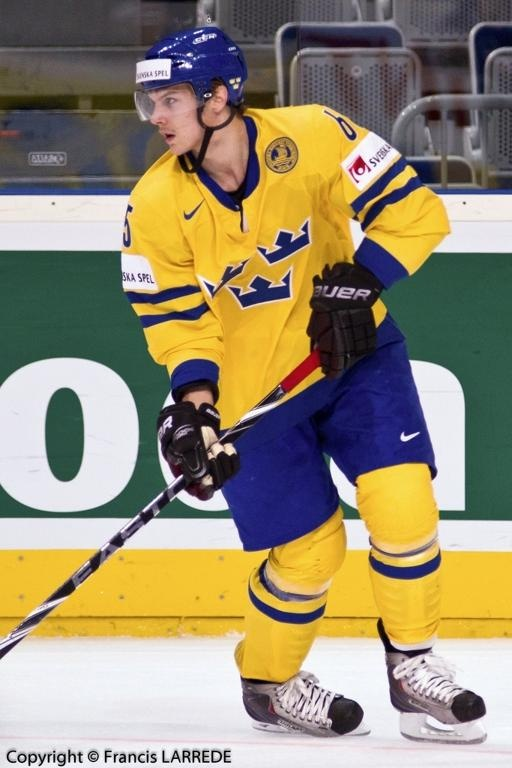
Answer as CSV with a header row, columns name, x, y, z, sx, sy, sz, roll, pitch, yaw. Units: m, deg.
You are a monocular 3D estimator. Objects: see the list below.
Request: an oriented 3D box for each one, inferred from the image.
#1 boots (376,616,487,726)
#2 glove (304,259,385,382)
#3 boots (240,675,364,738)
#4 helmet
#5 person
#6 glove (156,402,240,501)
name,x,y,z,sx,sy,sz,roll,pitch,yaw
boots,0.437,0.672,2.420,0.129,0.215,0.260,-17,0,-30
glove,0.190,-0.143,2.307,0.193,0.231,0.108,-5,-6,37
boots,0.116,0.772,2.576,0.357,0.137,0.111,-1,9,20
helmet,-0.144,-0.690,2.353,0.264,0.168,0.181,-17,4,-22
person,0.086,0.025,2.428,0.742,1.642,0.468,-3,3,-12
glove,-0.125,0.131,2.205,0.166,0.204,0.106,-5,1,36
